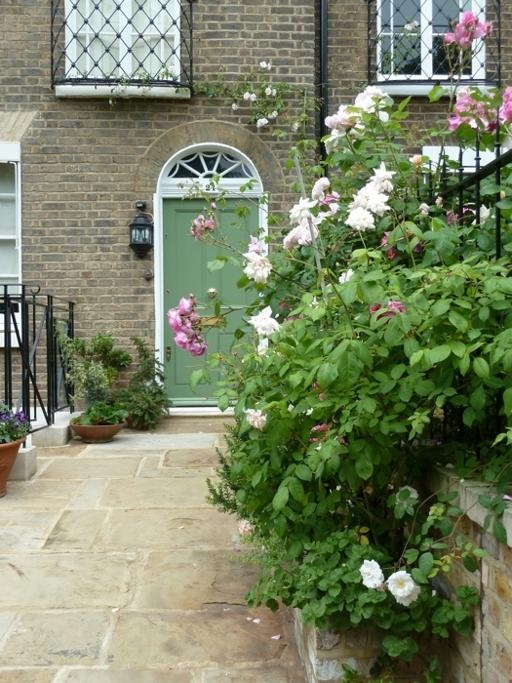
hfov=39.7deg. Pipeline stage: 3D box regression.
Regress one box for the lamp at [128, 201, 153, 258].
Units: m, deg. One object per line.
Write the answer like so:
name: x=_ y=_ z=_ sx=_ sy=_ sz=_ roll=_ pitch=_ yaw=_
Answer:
lamp: x=-1.032 y=-1.003 z=6.382 sx=0.215 sy=0.512 sz=0.153 roll=0 pitch=4 yaw=-7

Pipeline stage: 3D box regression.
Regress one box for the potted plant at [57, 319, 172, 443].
potted plant: x=-1.198 y=0.311 z=5.935 sx=0.898 sy=0.958 sz=1.025 roll=0 pitch=4 yaw=0
